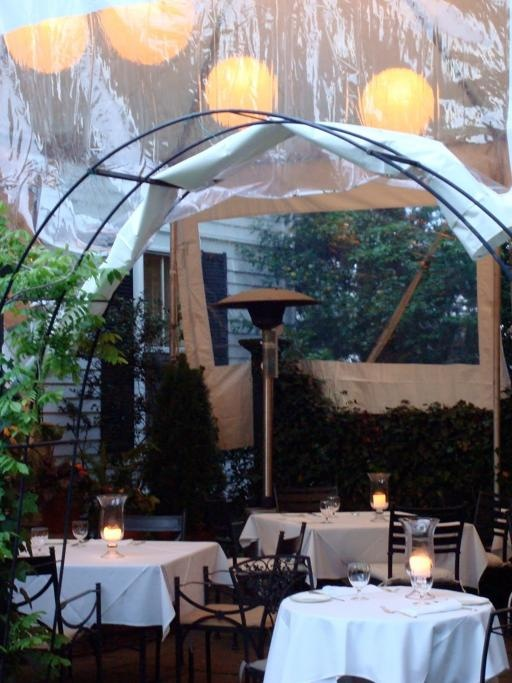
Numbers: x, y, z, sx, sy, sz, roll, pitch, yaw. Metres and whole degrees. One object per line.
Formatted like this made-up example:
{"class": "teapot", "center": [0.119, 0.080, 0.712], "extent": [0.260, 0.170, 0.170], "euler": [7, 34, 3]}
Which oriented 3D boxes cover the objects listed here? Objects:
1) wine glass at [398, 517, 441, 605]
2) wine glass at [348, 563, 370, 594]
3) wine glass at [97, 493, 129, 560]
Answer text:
{"class": "wine glass", "center": [0.713, 0.956, 4.064], "extent": [0.142, 0.350, 0.295], "euler": [-1, 2, 11]}
{"class": "wine glass", "center": [0.441, 1.026, 3.997], "extent": [0.085, 0.158, 0.131], "euler": [-1, 2, 10]}
{"class": "wine glass", "center": [-0.812, 1.036, 5.250], "extent": [0.146, 0.371, 0.554], "euler": [-1, 2, -8]}
